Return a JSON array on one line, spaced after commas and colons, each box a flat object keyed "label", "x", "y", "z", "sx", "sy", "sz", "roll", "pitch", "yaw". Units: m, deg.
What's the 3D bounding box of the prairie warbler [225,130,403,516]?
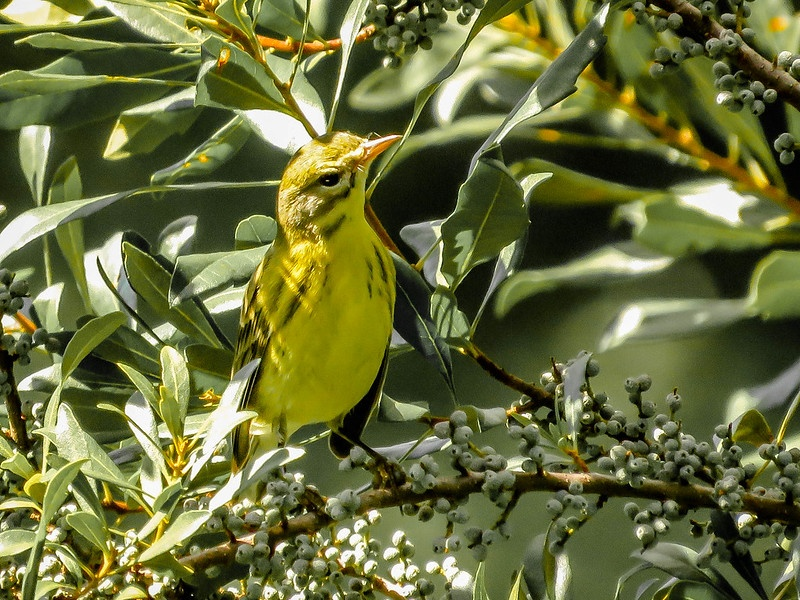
[{"label": "prairie warbler", "x": -0.118, "y": 0.025, "z": 1.949, "sx": 0.233, "sy": 0.291, "sz": 0.552, "roll": -1, "pitch": -85, "yaw": -7}]
